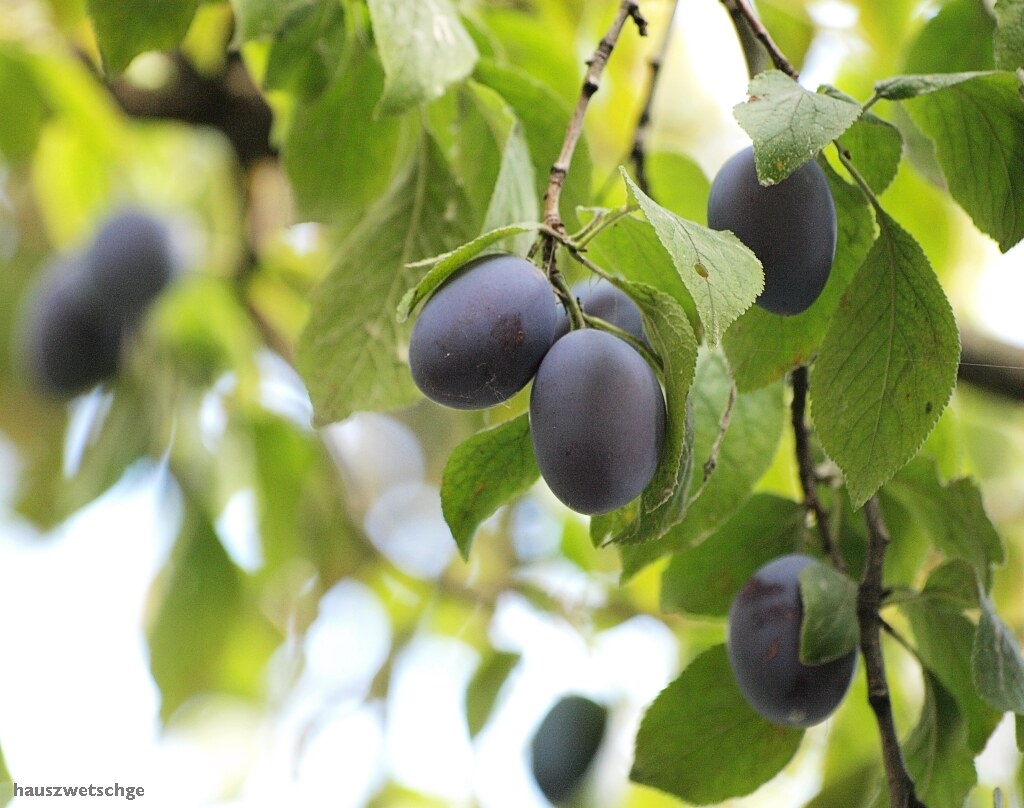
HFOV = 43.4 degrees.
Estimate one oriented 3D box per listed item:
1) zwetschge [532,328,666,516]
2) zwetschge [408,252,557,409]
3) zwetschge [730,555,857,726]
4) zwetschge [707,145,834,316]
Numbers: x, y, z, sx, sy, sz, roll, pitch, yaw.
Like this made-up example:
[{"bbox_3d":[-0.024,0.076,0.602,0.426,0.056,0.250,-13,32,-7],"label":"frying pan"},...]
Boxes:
[{"bbox_3d":[0.047,0.010,0.682,0.059,0.103,0.068,1,1,-4],"label":"zwetschge"},{"bbox_3d":[-0.018,-0.049,0.707,0.086,0.079,0.064,-25,21,-24],"label":"zwetschge"},{"bbox_3d":[0.175,0.152,0.781,0.060,0.111,0.058,6,-12,11],"label":"zwetschge"},{"bbox_3d":[0.149,-0.105,0.744,0.056,0.104,0.070,-2,9,16],"label":"zwetschge"}]
